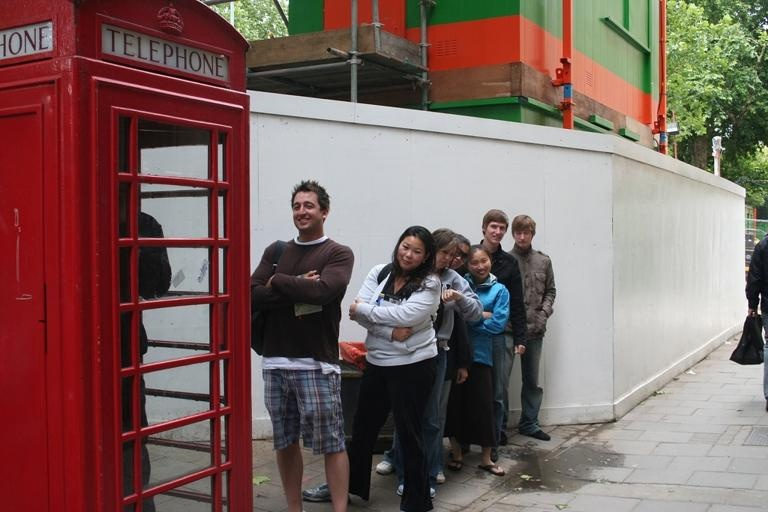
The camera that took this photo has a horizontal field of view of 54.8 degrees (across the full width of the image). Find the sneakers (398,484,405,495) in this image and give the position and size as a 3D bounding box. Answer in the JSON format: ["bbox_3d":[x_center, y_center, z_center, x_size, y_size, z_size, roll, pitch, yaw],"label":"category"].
[{"bbox_3d":[0.147,2.001,6.325,0.058,0.075,0.170,3,-15,1],"label":"sneakers"}]

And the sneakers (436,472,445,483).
[{"bbox_3d":[0.510,2.000,6.678,0.049,0.065,0.154,1,2,9],"label":"sneakers"}]

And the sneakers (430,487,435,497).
[{"bbox_3d":[0.426,2.033,6.376,0.052,0.066,0.163,-1,-13,6],"label":"sneakers"}]

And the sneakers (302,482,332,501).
[{"bbox_3d":[-0.558,2.011,6.279,0.268,0.126,0.140,3,-7,6],"label":"sneakers"}]

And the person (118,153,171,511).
[{"bbox_3d":[-1.485,0.510,4.606,0.115,2.193,0.395,3,5,34],"label":"person"}]

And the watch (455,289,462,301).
[{"bbox_3d":[0.620,0.339,6.189,0.054,0.060,0.058,1,-1,7],"label":"watch"}]

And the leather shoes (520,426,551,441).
[{"bbox_3d":[1.624,1.917,7.984,0.313,0.137,0.116,-2,4,23],"label":"leather shoes"}]

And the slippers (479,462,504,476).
[{"bbox_3d":[1.009,2.001,6.967,0.096,0.056,0.192,2,-4,-37],"label":"slippers"}]
